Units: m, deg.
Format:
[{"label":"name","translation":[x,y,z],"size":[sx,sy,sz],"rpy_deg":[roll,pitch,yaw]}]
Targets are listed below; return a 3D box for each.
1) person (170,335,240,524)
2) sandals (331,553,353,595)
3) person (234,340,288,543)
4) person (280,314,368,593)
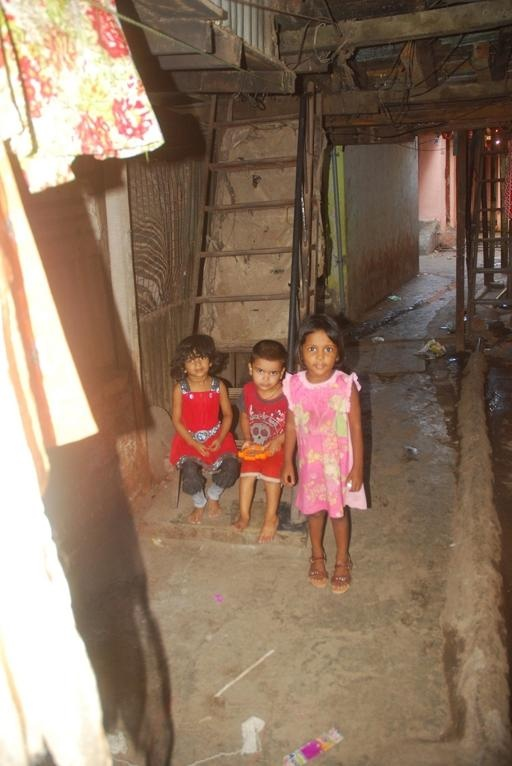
[{"label":"person","translation":[-0.291,0.220,3.264],"size":[0.360,0.968,0.378],"rpy_deg":[-4,11,-9]},{"label":"sandals","translation":[0.376,0.863,2.718],"size":[0.064,0.050,0.183],"rpy_deg":[-2,20,12]},{"label":"person","translation":[0.022,0.276,3.040],"size":[0.275,1.011,0.500],"rpy_deg":[-2,11,1]},{"label":"person","translation":[0.298,0.306,2.702],"size":[0.366,1.223,0.300],"rpy_deg":[0,11,12]}]
